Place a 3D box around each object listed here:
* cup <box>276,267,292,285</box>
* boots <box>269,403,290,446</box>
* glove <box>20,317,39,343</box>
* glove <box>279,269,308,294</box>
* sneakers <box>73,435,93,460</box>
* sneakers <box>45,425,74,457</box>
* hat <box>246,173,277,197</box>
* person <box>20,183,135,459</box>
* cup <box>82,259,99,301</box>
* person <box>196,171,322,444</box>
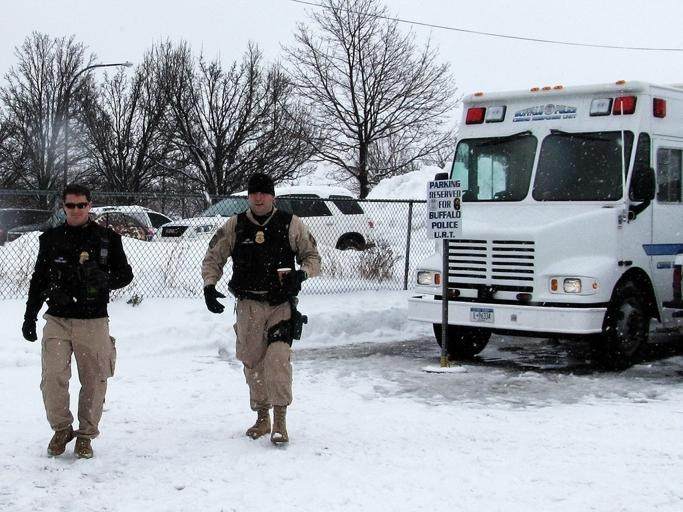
[{"bbox_3d":[-0.526,0.192,6.577,0.122,0.108,0.133,1,0,0],"label":"cup"},{"bbox_3d":[-0.556,1.462,6.575,0.130,0.317,0.320,1,27,1],"label":"boots"},{"bbox_3d":[-2.602,0.620,6.087,0.096,0.202,0.140,-7,4,34],"label":"glove"},{"bbox_3d":[-0.440,0.227,6.621,0.200,0.167,0.218,-1,2,-3],"label":"glove"},{"bbox_3d":[-2.157,1.598,6.126,0.153,0.170,0.151,-1,5,-22],"label":"sneakers"},{"bbox_3d":[-2.367,1.542,6.211,0.133,0.150,0.327,-1,23,7],"label":"sneakers"},{"bbox_3d":[-0.743,-0.666,6.799,0.197,0.176,0.216,0,7,-3],"label":"hat"},{"bbox_3d":[-2.229,0.532,6.190,0.849,2.280,0.461,0,4,-17],"label":"person"},{"bbox_3d":[-2.096,0.247,6.144,0.165,0.364,0.212,-2,-23,-19],"label":"cup"},{"bbox_3d":[-0.724,0.449,6.748,0.995,2.421,0.612,2,4,7],"label":"person"}]
